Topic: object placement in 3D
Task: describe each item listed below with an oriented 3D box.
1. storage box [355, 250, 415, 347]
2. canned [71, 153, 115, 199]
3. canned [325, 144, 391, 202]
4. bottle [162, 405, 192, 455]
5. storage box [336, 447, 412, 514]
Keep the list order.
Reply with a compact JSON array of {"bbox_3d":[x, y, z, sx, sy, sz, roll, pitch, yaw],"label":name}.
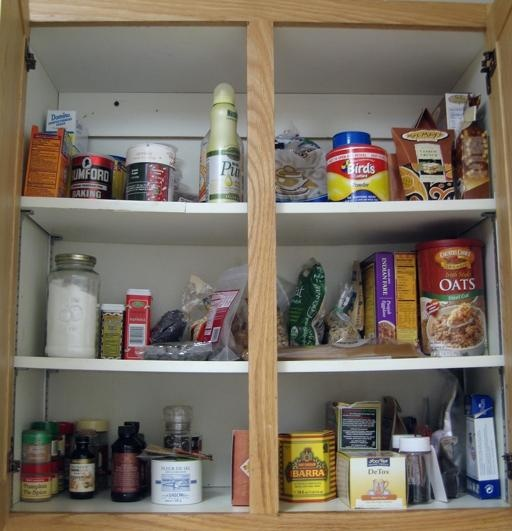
[{"bbox_3d":[0.297,0.075,1.509,0.182,0.295,0.321,-1,-6,2],"label":"storage box"},{"bbox_3d":[-0.378,-0.200,1.276,0.103,0.106,0.102,0,-3,15],"label":"canned"},{"bbox_3d":[0.235,-0.203,1.318,0.137,0.125,0.134,0,-9,1],"label":"canned"},{"bbox_3d":[-0.200,0.410,1.414,0.095,0.129,0.091,2,-15,1],"label":"bottle"},{"bbox_3d":[0.244,0.447,1.186,0.123,0.086,0.119,0,-5,-2],"label":"storage box"}]
